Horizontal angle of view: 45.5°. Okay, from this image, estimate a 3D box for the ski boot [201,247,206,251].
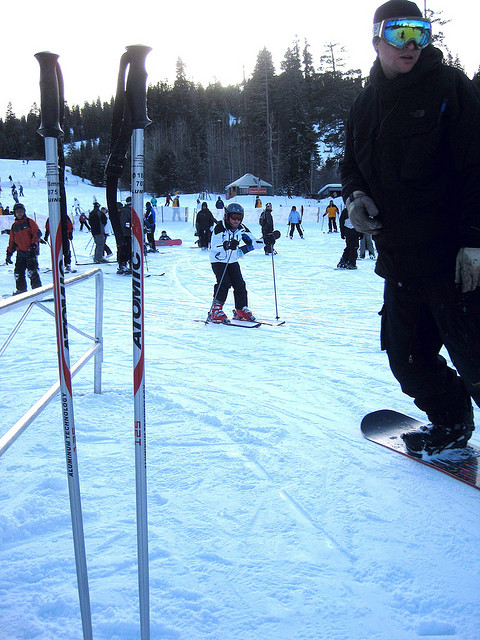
[{"bbox_3d":[-1.065,-2.055,16.577,0.124,0.136,0.124,6,12,12],"label":"ski boot"}]

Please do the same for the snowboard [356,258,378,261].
[{"bbox_3d":[2.967,-1.393,13.186,0.358,0.045,0.393,8,13,39],"label":"snowboard"}]

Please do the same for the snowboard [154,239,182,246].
[{"bbox_3d":[-2.263,-2.412,17.841,0.932,0.199,0.271,-9,13,-43],"label":"snowboard"}]

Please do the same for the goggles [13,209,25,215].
[{"bbox_3d":[-3.207,-1.566,8.246,0.095,0.096,0.121,-5,-5,-13],"label":"goggles"}]

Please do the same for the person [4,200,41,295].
[{"bbox_3d":[-3.131,-1.038,8.319,0.431,1.260,0.648,-4,11,-21],"label":"person"}]

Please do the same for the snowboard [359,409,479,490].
[{"bbox_3d":[0.850,0.571,2.756,0.175,0.105,0.719,-19,16,-20],"label":"snowboard"}]

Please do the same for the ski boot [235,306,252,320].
[{"bbox_3d":[0.041,-0.080,6.585,0.085,0.111,0.250,6,11,3],"label":"ski boot"}]

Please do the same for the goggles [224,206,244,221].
[{"bbox_3d":[-0.063,-1.185,6.441,0.137,0.147,0.171,-9,33,-28],"label":"goggles"}]

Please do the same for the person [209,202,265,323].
[{"bbox_3d":[-0.090,-0.651,6.513,0.548,1.327,0.404,-3,10,-19],"label":"person"}]

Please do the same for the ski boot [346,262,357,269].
[{"bbox_3d":[2.236,-1.072,11.450,0.224,0.096,0.075,-5,11,-27],"label":"ski boot"}]

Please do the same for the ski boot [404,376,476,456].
[{"bbox_3d":[0.899,0.432,2.545,0.380,0.378,0.197,-6,42,6],"label":"ski boot"}]
